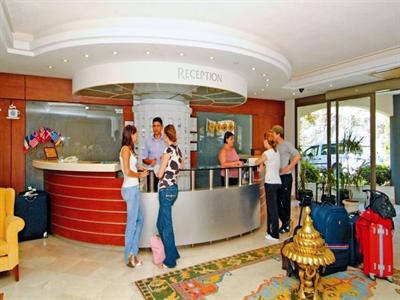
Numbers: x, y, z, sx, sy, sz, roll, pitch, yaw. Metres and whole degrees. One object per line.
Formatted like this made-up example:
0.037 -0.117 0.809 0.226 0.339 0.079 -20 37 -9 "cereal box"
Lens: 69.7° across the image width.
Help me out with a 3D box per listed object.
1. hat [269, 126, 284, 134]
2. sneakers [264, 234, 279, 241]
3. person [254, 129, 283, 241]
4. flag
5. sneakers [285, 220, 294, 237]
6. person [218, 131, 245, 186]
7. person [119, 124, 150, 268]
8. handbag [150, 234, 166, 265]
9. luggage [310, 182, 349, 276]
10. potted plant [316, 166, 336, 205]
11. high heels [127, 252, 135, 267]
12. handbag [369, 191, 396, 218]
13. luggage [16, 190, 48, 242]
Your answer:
1.774 -0.464 6.492 0.348 0.175 0.245 7 9 1 "hat"
1.511 1.864 6.088 0.295 0.132 0.117 -3 -6 44 "sneakers"
1.463 0.781 6.059 0.489 2.303 0.409 3 11 23 "person"
-4.036 -0.271 7.342 0.725 0.507 0.125 -7 -5 -36 "flag"
1.950 1.686 6.271 0.196 0.450 0.156 3 5 17 "sneakers"
0.696 0.153 6.390 0.517 1.051 1.366 0 10 5 "person"
-1.179 0.812 5.147 0.454 2.509 0.739 -1 10 2 "person"
-0.745 1.786 5.076 0.153 0.427 0.339 -4 -7 -5 "handbag"
2.202 1.369 4.939 0.595 1.264 0.548 2 -1 -29 "luggage"
3.809 1.149 8.450 0.606 0.972 0.503 15 -7 -28 "potted plant"
-1.196 1.901 4.999 0.107 0.274 0.088 -7 -13 15 "high heels"
3.038 0.877 4.662 0.452 0.427 0.323 2 -1 39 "handbag"
-3.889 1.539 6.501 0.772 1.025 0.778 -6 -13 -22 "luggage"
